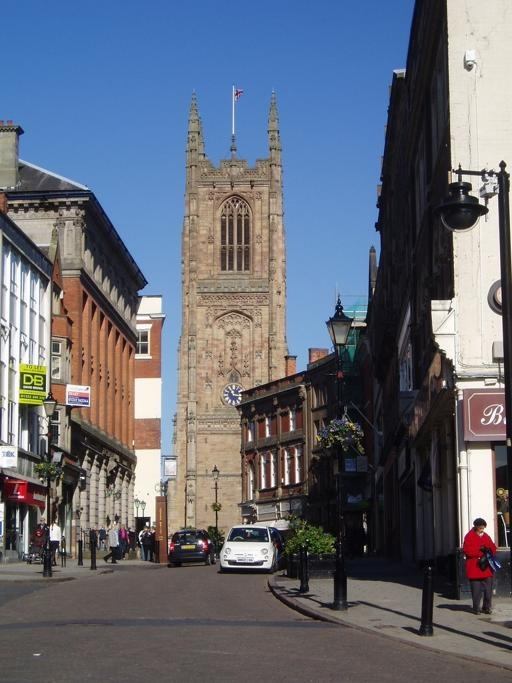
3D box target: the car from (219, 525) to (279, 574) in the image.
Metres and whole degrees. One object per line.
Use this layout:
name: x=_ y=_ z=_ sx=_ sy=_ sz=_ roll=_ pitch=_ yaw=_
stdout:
car: x=-0.165 y=5.381 z=35.288 sx=1.417 sy=1.551 sz=2.413 roll=-2 pitch=-16 yaw=2

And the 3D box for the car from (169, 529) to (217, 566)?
car: x=-2.128 y=6.626 z=43.423 sx=1.372 sy=1.439 sz=1.863 roll=0 pitch=-16 yaw=-4
